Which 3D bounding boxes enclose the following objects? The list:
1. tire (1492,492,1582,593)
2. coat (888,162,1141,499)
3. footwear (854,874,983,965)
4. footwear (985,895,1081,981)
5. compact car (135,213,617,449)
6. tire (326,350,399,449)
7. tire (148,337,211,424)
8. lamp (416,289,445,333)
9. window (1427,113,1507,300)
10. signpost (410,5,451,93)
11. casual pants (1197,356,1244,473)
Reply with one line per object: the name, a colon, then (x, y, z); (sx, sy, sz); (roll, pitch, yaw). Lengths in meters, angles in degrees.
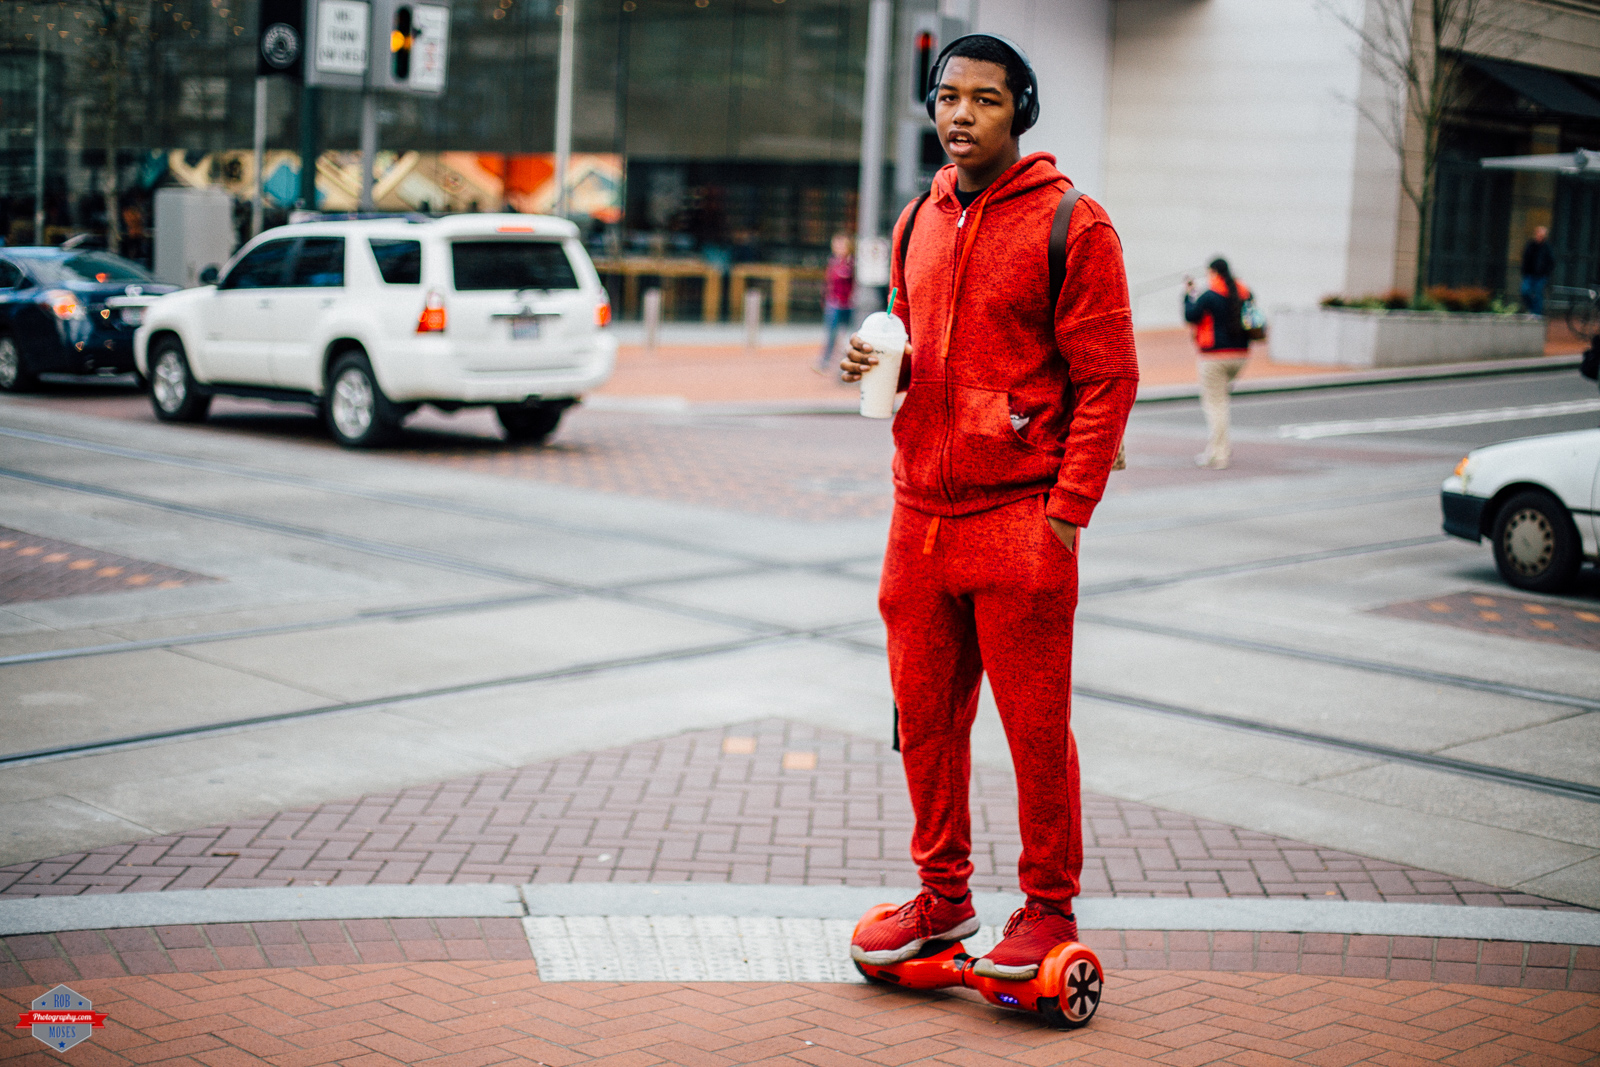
tire: (5.461, 0.060, 10.189); (0.342, 0.843, 0.879); (-3, 3, -40)
coat: (0.628, -0.604, 4.157); (0.747, 1.077, 0.356); (3, 9, 16)
footwear: (0.361, 1.269, 4.478); (0.488, 0.179, 0.173); (-9, 6, -23)
footwear: (0.717, 1.266, 4.301); (0.467, 0.179, 0.167); (-2, 2, -43)
compact car: (-4.834, -2.267, 15.375); (4.751, 2.490, 1.620); (4, 9, 22)
tire: (-4.655, -1.442, 14.704); (0.478, 1.075, 1.307); (1, -2, -45)
tire: (-7.297, -1.820, 16.211); (1.044, 0.895, 0.378); (-19, 0, 45)
lamp: (-3.848, -2.311, 14.359); (0.309, 0.425, 0.083); (2, 9, 8)
window: (3.934, -1.933, 8.142); (0.312, 1.017, 0.706); (0, 8, -7)
signpost: (-4.888, -6.417, 18.026); (0.351, 1.083, 0.712); (4, 9, 23)
casual pants: (4.655, -1.383, 15.320); (0.471, 1.249, 0.887); (3, 8, 16)
